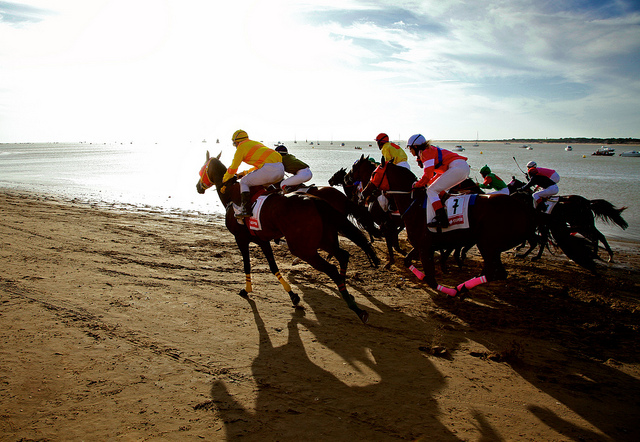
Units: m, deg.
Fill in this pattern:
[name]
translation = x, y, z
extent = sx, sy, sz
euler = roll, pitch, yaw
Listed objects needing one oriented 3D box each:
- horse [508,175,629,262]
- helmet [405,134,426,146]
[horse]
translation = 6.789, 0.004, 12.881
extent = 4.782, 2.103, 0.837
euler = -3, -2, -18
[helmet]
translation = 2.130, -1.770, 9.894
extent = 0.366, 0.244, 0.479
euler = 5, 12, 9
